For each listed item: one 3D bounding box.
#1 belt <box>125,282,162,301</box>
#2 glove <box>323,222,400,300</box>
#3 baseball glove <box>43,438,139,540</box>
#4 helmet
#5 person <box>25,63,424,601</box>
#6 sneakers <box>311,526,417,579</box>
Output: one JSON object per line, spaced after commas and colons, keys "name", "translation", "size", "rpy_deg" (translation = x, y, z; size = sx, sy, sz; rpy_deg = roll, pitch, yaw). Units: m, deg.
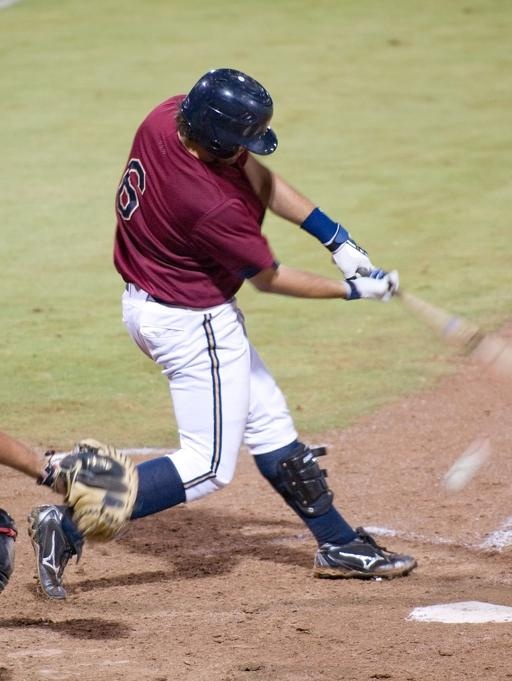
{"name": "belt", "translation": [-0.332, -0.158, 2.967], "size": [0.100, 0.042, 0.068], "rpy_deg": [29, -10, -10]}
{"name": "glove", "translation": [0.349, -0.252, 3.288], "size": [0.346, 0.083, 0.192], "rpy_deg": [32, 38, 8]}
{"name": "baseball glove", "translation": [-0.442, 0.408, 2.669], "size": [0.250, 0.292, 0.125], "rpy_deg": [31, 53, -2]}
{"name": "helmet", "translation": [-0.071, -0.670, 2.856], "size": [0.309, 0.242, 0.294], "rpy_deg": [2, 34, -12]}
{"name": "person", "translation": [-0.086, 0.029, 3.070], "size": [1.267, 1.685, 1.006], "rpy_deg": [-4, 39, -22]}
{"name": "sneakers", "translation": [0.356, 0.760, 3.377], "size": [0.396, 0.146, 0.141], "rpy_deg": [0, -3, -2]}
